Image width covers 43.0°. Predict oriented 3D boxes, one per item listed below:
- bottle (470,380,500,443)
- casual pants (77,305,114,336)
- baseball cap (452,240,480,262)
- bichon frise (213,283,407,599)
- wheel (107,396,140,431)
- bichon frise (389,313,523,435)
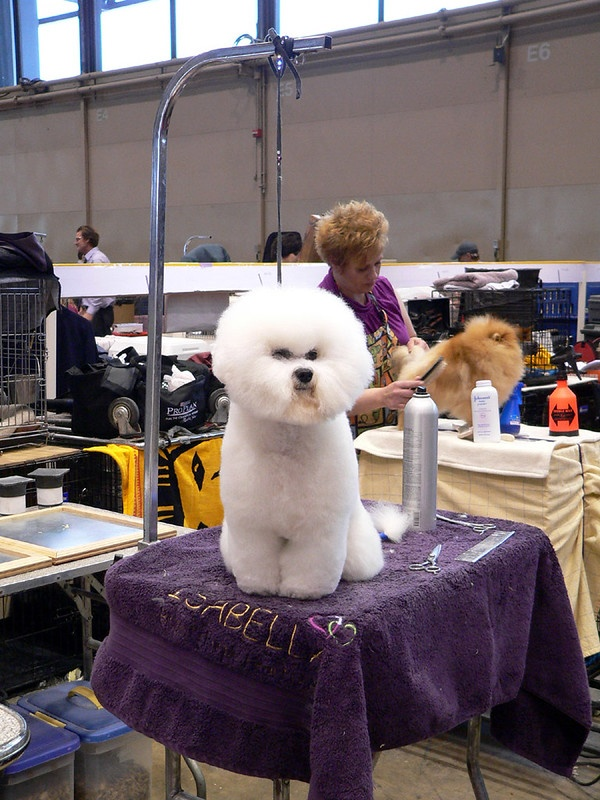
[{"bbox_3d":[0.479,0.031,1.962,0.067,0.167,0.092,-2,9,13],"label":"bottle"},{"bbox_3d":[-1.927,-0.750,7.254,0.297,0.274,0.535,-5,8,-15],"label":"casual pants"},{"bbox_3d":[1.750,-1.526,7.937,0.249,0.188,0.341,-9,12,-25],"label":"baseball cap"},{"bbox_3d":[0.005,0.055,1.151,0.254,0.413,0.459,4,9,14],"label":"bichon frise"},{"bbox_3d":[-0.666,0.053,2.893,0.121,0.148,0.082,-8,-1,13],"label":"wheel"},{"bbox_3d":[0.411,-0.073,2.059,0.381,0.308,0.220,1,13,-1],"label":"bichon frise"}]
